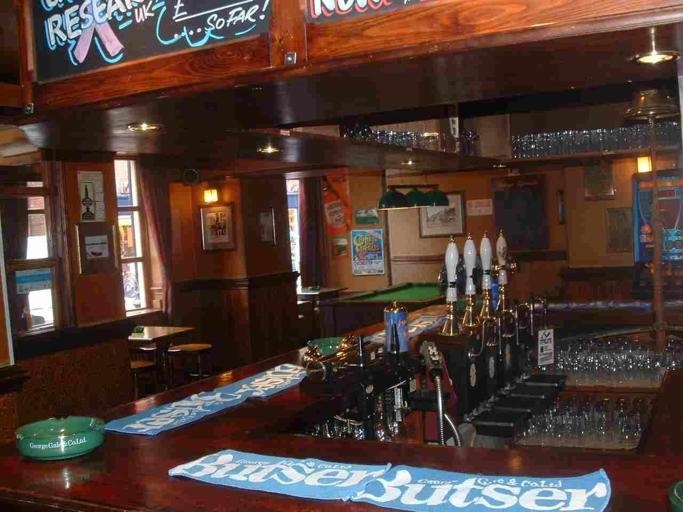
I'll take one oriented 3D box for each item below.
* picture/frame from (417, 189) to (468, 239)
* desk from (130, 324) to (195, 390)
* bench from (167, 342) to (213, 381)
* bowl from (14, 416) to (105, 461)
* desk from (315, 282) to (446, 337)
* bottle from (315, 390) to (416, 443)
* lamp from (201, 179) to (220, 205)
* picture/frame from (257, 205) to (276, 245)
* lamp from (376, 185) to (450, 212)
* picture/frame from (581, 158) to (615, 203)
[{"bbox_3d":[1.484,-0.602,8.524,0.935,0.835,0.061,-1,2,41],"label":"picture/frame"},{"bbox_3d":[-1.925,1.069,6.403,0.619,0.624,0.710,-2,4,-4],"label":"desk"},{"bbox_3d":[-1.813,1.203,6.760,0.367,0.351,0.401,-6,-9,-19],"label":"bench"},{"bbox_3d":[-1.146,0.729,2.392,0.322,0.114,0.303,1,0,0],"label":"bowl"},{"bbox_3d":[0.230,0.739,7.499,0.848,0.471,1.833,-13,-2,-37],"label":"desk"},{"bbox_3d":[0.138,0.745,2.717,0.339,0.116,0.231,-3,2,-20],"label":"bottle"},{"bbox_3d":[-1.774,-0.867,8.065,0.302,0.466,0.286,1,1,-18],"label":"lamp"},{"bbox_3d":[-1.058,-0.410,8.339,0.038,0.527,0.500,-3,3,20],"label":"picture/frame"},{"bbox_3d":[0.921,-0.758,7.526,0.783,0.289,1.959,-1,4,7],"label":"lamp"},{"bbox_3d":[3.091,-0.865,7.139,0.344,0.447,0.239,-1,-7,13],"label":"picture/frame"}]
